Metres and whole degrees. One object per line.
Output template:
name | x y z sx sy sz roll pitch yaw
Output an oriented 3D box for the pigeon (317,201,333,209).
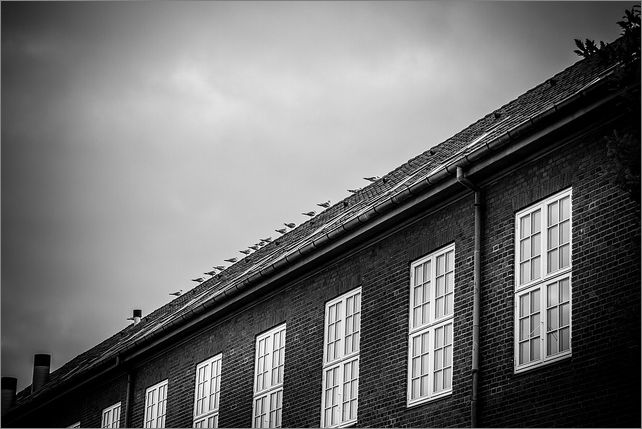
pigeon | 0.105 -0.175 30.885 0.217 0.122 0.137 -3 -15 4
